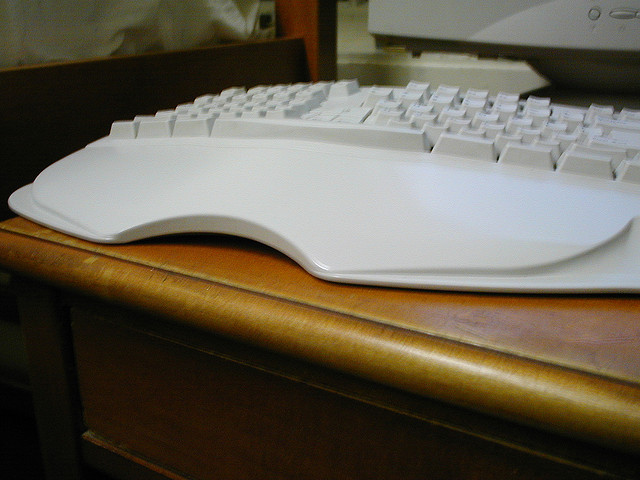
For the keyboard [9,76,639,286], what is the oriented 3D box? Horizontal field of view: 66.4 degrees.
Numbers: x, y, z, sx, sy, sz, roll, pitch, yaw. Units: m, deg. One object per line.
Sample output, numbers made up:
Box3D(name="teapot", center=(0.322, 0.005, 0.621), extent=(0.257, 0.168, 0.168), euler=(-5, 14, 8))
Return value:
Box3D(name="keyboard", center=(0.000, -0.080, 0.496), extent=(0.586, 0.121, 0.282), euler=(8, 26, 12))
